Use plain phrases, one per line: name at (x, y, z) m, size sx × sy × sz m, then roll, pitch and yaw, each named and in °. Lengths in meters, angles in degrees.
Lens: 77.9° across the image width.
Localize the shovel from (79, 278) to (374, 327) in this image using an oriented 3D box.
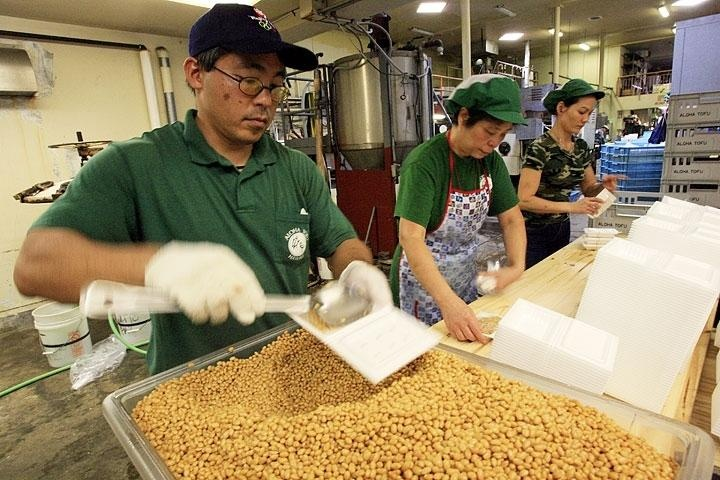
shovel at (-0.520, 0.259, 1.856) m, size 0.699 × 0.084 × 0.161 m, roll 9°, pitch 9°, yaw -26°

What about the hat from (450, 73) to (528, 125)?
hat at (0.705, -0.743, 2.444) m, size 0.293 × 0.178 × 0.368 m, roll -17°, pitch 20°, yaw -36°

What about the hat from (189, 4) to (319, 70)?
hat at (-0.483, -0.867, 2.030) m, size 0.462 × 0.226 × 0.292 m, roll 1°, pitch 13°, yaw 14°

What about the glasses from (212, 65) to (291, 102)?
glasses at (-0.528, -0.726, 2.042) m, size 0.230 × 0.068 × 0.220 m, roll 32°, pitch 20°, yaw 30°

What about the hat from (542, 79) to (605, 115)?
hat at (1.587, -1.065, 3.350) m, size 0.361 × 0.266 × 0.316 m, roll 13°, pitch 25°, yaw 39°

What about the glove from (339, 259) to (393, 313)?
glove at (0.009, 0.213, 2.017) m, size 0.229 × 0.228 × 0.075 m, roll -8°, pitch -12°, yaw 32°
